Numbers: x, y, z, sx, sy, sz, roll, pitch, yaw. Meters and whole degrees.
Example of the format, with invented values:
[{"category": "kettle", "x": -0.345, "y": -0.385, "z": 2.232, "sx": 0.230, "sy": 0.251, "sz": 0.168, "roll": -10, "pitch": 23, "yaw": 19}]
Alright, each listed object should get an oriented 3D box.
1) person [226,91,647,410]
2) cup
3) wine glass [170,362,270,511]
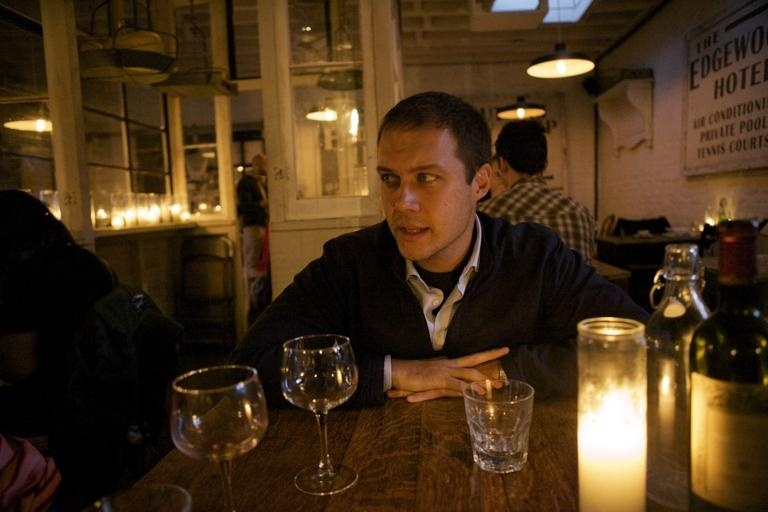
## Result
[{"category": "person", "x": 0.202, "y": -0.111, "z": 2.767, "sx": 1.571, "sy": 1.145, "sz": 0.516, "roll": -3, "pitch": 6, "yaw": -3}, {"category": "cup", "x": 0.383, "y": 0.563, "z": 2.220, "sx": 0.282, "sy": 0.294, "sz": 0.276, "roll": -1, "pitch": -3, "yaw": 0}, {"category": "wine glass", "x": -0.530, "y": 0.593, "z": 2.136, "sx": 0.294, "sy": 0.452, "sz": 0.235, "roll": -4, "pitch": 6, "yaw": -13}]
